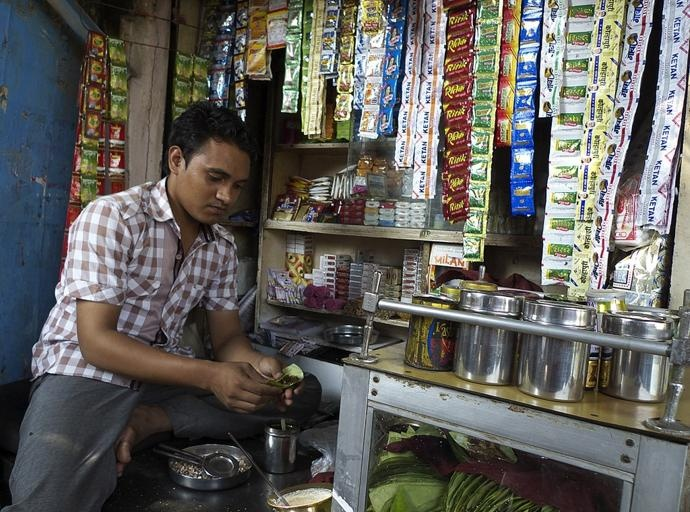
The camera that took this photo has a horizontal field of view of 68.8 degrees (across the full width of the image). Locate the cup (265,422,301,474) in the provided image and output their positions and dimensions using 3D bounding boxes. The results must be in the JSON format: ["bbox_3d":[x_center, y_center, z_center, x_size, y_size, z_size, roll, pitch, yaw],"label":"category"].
[{"bbox_3d":[-0.308,0.910,2.469,0.186,0.228,0.225,0,4,-22],"label":"cup"}]

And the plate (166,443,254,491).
[{"bbox_3d":[-0.635,0.971,2.311,0.267,0.069,0.194,5,3,-10],"label":"plate"}]
